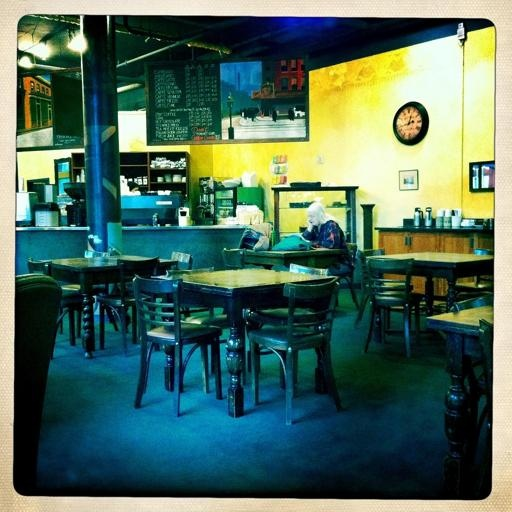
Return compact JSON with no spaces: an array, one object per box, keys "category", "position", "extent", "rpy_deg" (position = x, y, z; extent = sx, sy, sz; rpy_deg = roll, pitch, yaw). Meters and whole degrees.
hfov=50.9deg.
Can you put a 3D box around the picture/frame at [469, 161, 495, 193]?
[{"category":"picture/frame","position":[2.751,-0.983,6.604],"extent":[0.095,0.378,0.374],"rpy_deg":[-3,7,-21]}]

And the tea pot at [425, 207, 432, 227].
[{"category":"tea pot","position":[2.204,-0.504,6.862],"extent":[0.087,0.224,0.227],"rpy_deg":[1,7,19]}]

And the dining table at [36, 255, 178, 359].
[{"category":"dining table","position":[-1.343,0.282,4.746],"extent":[0.902,0.805,0.864],"rpy_deg":[-3,4,-37]}]

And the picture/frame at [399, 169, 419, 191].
[{"category":"picture/frame","position":[2.155,-1.091,7.557],"extent":[0.020,0.286,0.280],"rpy_deg":[-4,8,-29]}]

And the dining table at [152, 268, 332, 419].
[{"category":"dining table","position":[-0.058,0.438,3.542],"extent":[0.855,0.766,0.841],"rpy_deg":[-1,1,-34]}]

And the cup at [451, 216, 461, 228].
[{"category":"cup","position":[2.411,-0.410,6.512],"extent":[0.120,0.124,0.105],"rpy_deg":[-3,7,-21]}]

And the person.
[{"category":"person","position":[0.766,-0.179,6.161],"extent":[0.564,0.862,0.515],"rpy_deg":[-10,3,-12]}]

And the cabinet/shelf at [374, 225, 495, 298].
[{"category":"cabinet/shelf","position":[2.314,0.245,6.700],"extent":[0.808,1.023,1.480],"rpy_deg":[-1,1,-33]}]

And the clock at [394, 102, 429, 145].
[{"category":"clock","position":[2.150,-1.857,7.480],"extent":[0.461,0.523,0.493],"rpy_deg":[-4,-4,45]}]

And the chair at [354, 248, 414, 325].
[{"category":"chair","position":[1.291,0.468,5.570],"extent":[0.455,0.690,0.525],"rpy_deg":[15,-2,23]}]

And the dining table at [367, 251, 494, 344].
[{"category":"dining table","position":[1.630,0.228,4.775],"extent":[0.738,0.756,0.763],"rpy_deg":[5,11,41]}]

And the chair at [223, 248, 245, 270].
[{"category":"chair","position":[-0.183,0.026,5.346],"extent":[0.235,0.209,0.186],"rpy_deg":[-1,3,-32]}]

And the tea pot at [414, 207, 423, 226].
[{"category":"tea pot","position":[2.148,-0.535,7.156],"extent":[0.121,0.237,0.518],"rpy_deg":[1,7,17]}]
